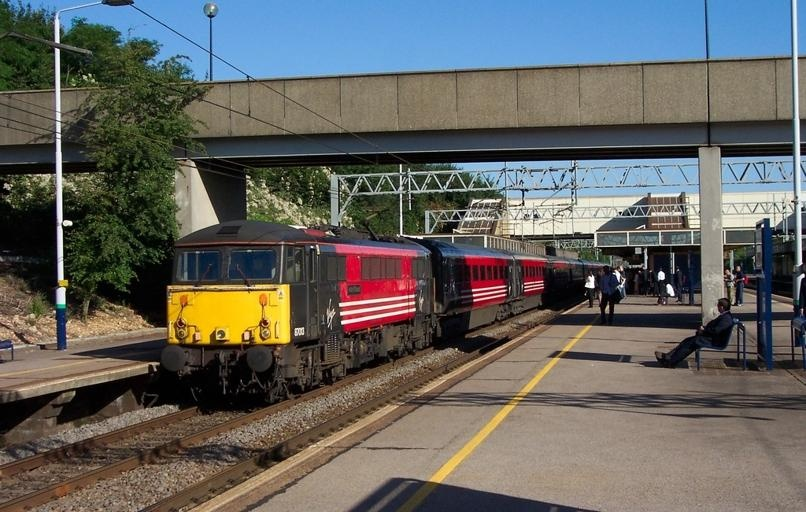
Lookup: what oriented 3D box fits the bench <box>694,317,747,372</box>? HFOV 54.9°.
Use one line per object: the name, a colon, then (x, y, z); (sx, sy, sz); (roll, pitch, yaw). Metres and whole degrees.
bench: (9.784, 2.771, 23.496); (1.885, 1.907, 2.099); (0, -5, 13)
